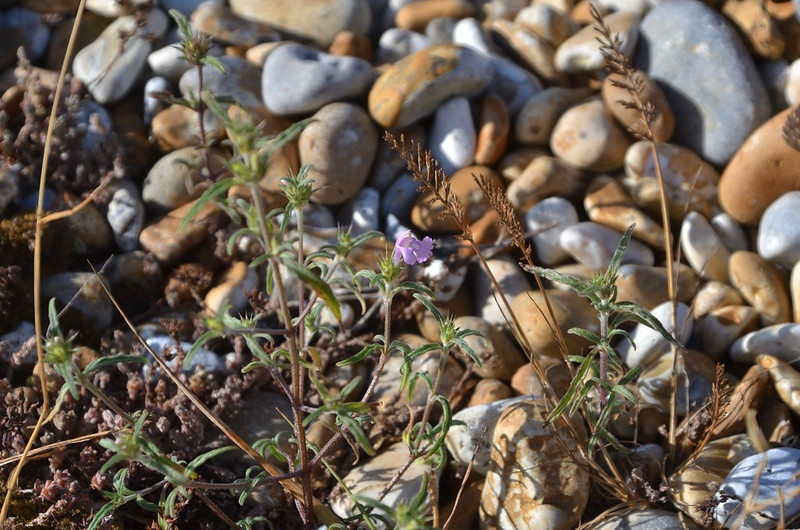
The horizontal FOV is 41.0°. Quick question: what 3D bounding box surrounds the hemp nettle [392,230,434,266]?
[{"bbox_3d":[0.044,-0.087,5.225,0.171,0.155,0.064,-48,31,21],"label":"hemp nettle"}]
